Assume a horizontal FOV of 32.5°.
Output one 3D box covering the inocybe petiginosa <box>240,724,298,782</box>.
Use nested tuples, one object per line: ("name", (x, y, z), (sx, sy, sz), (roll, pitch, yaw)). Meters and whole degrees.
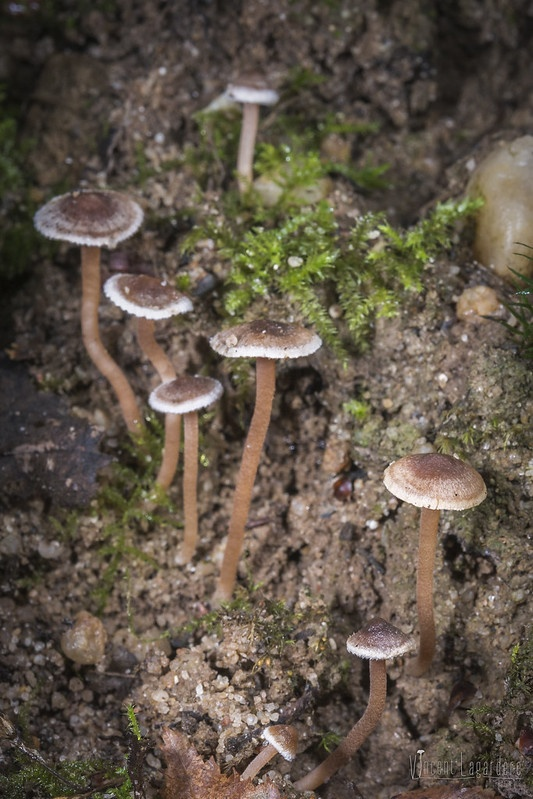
("inocybe petiginosa", (0.011, 1.675, 4.312), (0.168, 0.328, 0.160), (36, 24, -23))

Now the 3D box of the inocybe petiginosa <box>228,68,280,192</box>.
("inocybe petiginosa", (-0.105, -1.511, 5.106), (0.275, 0.597, 0.497), (8, 59, -2))
